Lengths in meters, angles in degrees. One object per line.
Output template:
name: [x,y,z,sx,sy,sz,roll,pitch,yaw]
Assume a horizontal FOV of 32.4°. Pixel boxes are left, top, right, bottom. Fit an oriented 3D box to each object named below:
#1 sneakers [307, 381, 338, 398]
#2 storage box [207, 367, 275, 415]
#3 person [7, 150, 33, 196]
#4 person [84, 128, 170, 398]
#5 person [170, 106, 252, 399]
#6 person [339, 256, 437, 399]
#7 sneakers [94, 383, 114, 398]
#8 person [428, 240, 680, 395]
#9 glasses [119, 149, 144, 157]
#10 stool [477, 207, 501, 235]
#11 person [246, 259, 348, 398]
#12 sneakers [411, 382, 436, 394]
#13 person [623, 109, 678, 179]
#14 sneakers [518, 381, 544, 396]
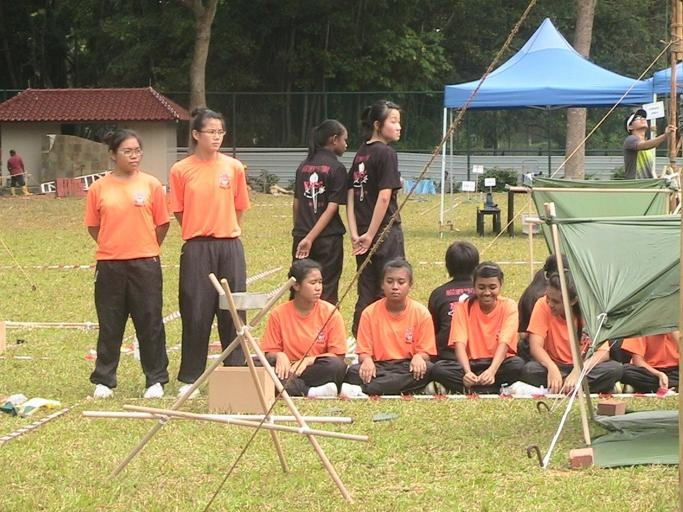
sneakers: [-0.176,1.190,10.416,0.224,0.081,0.122,-2,2,-1]
storage box: [-0.957,1.135,9.818,0.549,0.333,0.284,4,-11,-38]
person: [-8.359,-2.226,30.314,0.502,1.142,2.956,-1,6,-16]
person: [-1.913,0.038,10.501,0.739,2.358,0.685,0,6,-12]
person: [-1.184,-0.066,10.510,0.693,2.549,0.470,0,6,-7]
person: [0.409,0.662,10.516,0.887,1.150,1.063,8,12,44]
sneakers: [-2.105,1.195,10.349,0.110,0.133,0.137,-8,0,13]
person: [1.866,0.609,10.528,1.661,1.213,1.176,2,6,16]
glasses: [-1.865,-0.935,10.450,0.217,0.067,0.076,-4,7,-39]
stool: [2.336,-0.595,18.977,0.490,0.424,0.466,1,-2,1]
person: [-0.382,0.668,10.512,0.979,1.175,0.934,-4,10,-29]
sneakers: [0.745,1.191,10.533,0.154,0.125,0.113,5,-15,7]
person: [3.909,-1.504,15.467,0.390,0.938,1.157,2,6,13]
sneakers: [1.637,1.167,10.276,0.253,0.082,0.218,2,6,10]
